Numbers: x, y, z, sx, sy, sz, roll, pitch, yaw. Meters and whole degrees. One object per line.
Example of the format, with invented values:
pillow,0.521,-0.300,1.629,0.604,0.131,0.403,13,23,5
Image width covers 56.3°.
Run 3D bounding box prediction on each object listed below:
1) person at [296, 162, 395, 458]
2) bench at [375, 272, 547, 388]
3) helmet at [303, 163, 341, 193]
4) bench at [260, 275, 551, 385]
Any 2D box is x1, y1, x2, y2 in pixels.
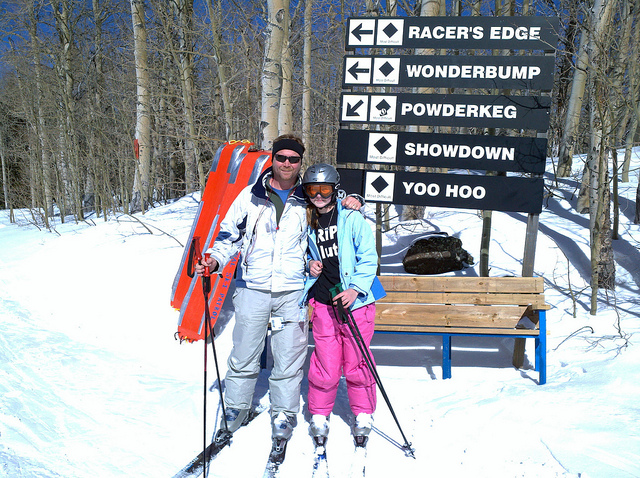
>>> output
person,0.263,0.753,6.687,0.889,3.149,0.616,0,8,-2
bench,1.907,1.102,8.047,2.043,1.251,1.184,2,9,9
helmet,0.014,-0.685,6.533,0.248,0.351,0.283,0,1,17
bench,1.229,1.247,7.972,3.441,1.421,0.935,-1,-10,22
